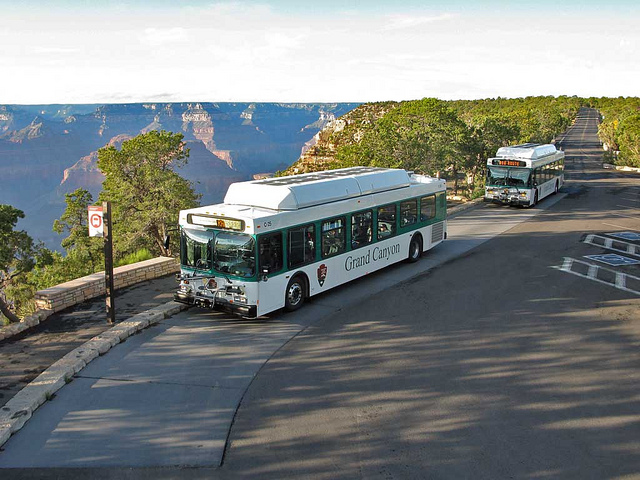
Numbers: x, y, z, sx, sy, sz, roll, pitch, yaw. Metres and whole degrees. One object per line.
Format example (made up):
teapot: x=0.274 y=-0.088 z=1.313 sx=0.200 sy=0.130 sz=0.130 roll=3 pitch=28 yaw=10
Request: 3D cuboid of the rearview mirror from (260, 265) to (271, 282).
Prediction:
rearview mirror: x=-1.447 y=0.906 z=16.435 sx=0.177 sy=0.488 sz=0.363 roll=8 pitch=22 yaw=32

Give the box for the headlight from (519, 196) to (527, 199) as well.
headlight: x=11.587 y=-2.449 z=34.014 sx=0.384 sy=0.159 sz=0.051 roll=5 pitch=21 yaw=24

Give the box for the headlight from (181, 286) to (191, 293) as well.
headlight: x=-3.936 y=1.448 z=17.471 sx=0.204 sy=0.194 sz=0.049 roll=5 pitch=-1 yaw=22

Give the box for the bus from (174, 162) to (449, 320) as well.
bus: x=-0.180 y=-0.745 z=21.199 sx=4.592 sy=4.055 sz=11.794 roll=12 pitch=24 yaw=38
